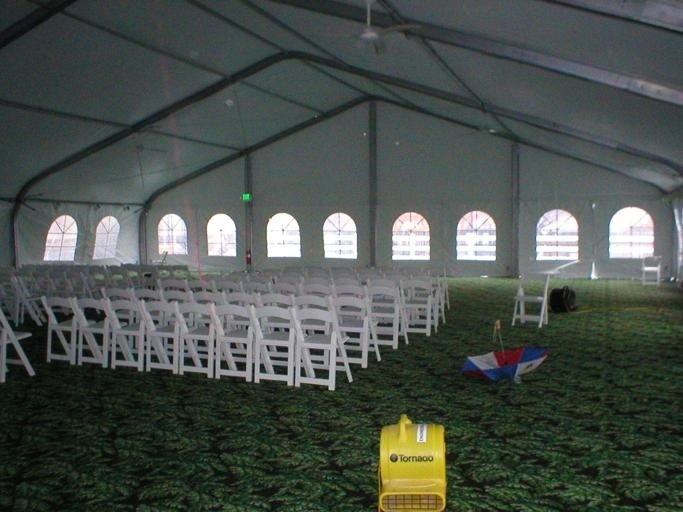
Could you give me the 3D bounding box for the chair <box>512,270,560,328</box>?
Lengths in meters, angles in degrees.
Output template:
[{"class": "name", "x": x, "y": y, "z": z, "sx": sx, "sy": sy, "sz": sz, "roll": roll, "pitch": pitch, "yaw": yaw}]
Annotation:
[{"class": "chair", "x": 3.430, "y": 0.686, "z": 10.613, "sx": 0.483, "sy": 0.433, "sz": 0.859, "roll": 2, "pitch": -34, "yaw": 22}]
